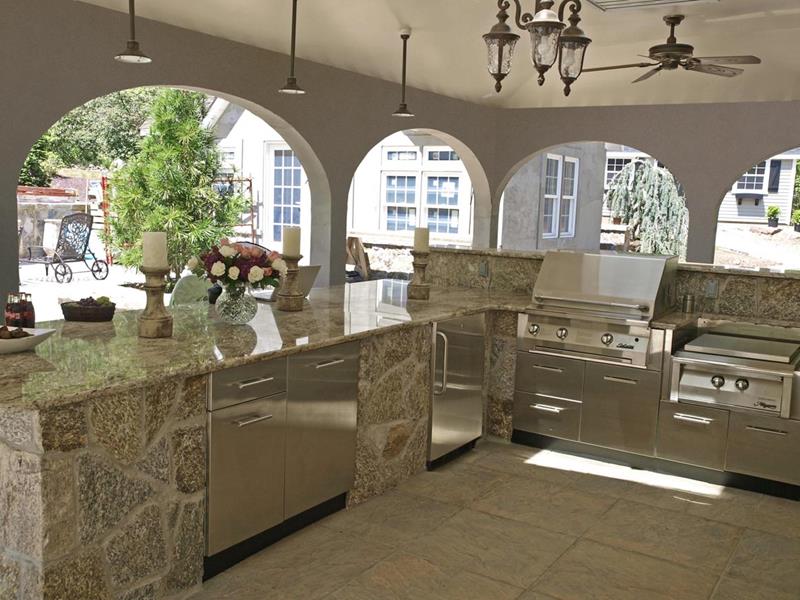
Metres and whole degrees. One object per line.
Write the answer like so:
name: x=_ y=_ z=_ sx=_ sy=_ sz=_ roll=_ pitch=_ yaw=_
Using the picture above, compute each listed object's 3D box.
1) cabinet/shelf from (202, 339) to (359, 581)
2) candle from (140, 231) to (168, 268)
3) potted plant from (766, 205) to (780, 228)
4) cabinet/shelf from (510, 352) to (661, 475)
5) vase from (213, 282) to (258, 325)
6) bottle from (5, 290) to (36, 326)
cabinet/shelf: x=-0.631 y=0.807 z=2.929 sx=0.524 sy=0.935 sz=0.995 roll=7 pitch=11 yaw=35
candle: x=-1.215 y=-0.241 z=2.853 sx=0.163 sy=0.191 sz=0.162 roll=-1 pitch=4 yaw=-29
potted plant: x=11.858 y=-2.616 z=18.437 sx=0.329 sy=0.645 sz=1.033 roll=9 pitch=12 yaw=31
cabinet/shelf: x=1.503 y=0.600 z=4.498 sx=1.130 sy=0.753 sz=0.658 roll=7 pitch=5 yaw=30
vase: x=-0.947 y=0.025 z=3.373 sx=0.244 sy=0.244 sz=0.249 roll=-6 pitch=9 yaw=-13
bottle: x=-1.826 y=0.048 z=2.775 sx=0.114 sy=0.168 sz=0.242 roll=-5 pitch=13 yaw=-35
